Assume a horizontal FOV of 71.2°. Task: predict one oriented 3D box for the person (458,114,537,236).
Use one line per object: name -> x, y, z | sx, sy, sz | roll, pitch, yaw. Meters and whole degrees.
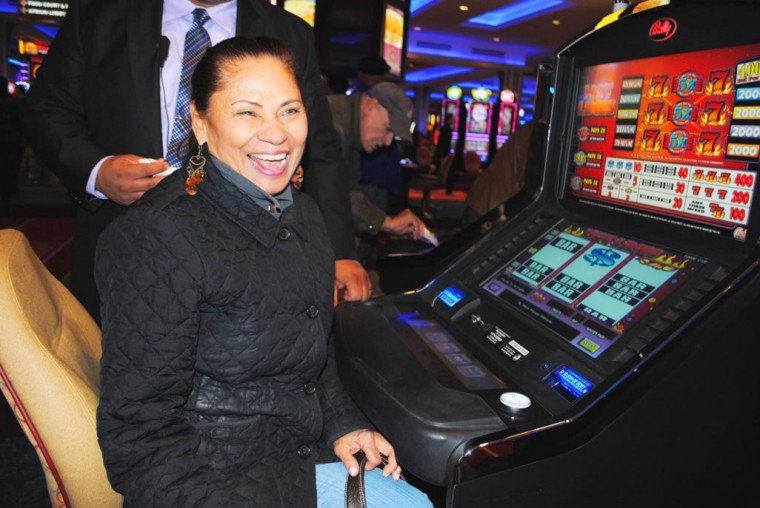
person -> 0.959, -0.607, 4.205 | 0.250, 0.843, 0.769 | 3, 21, -6
